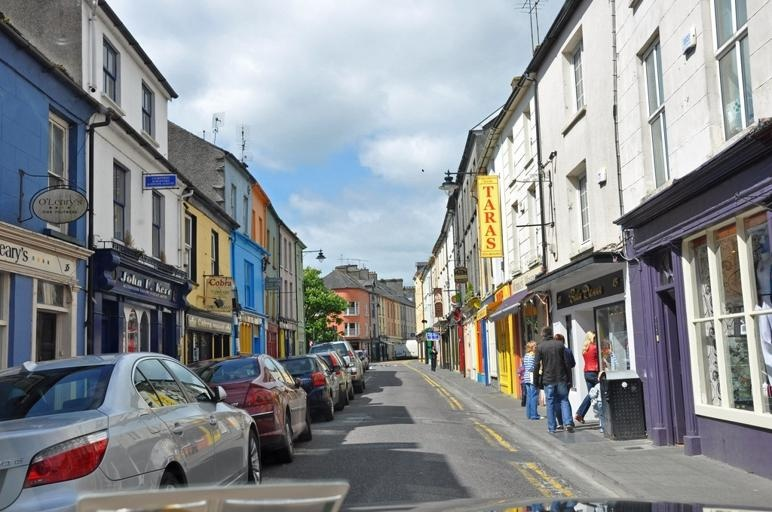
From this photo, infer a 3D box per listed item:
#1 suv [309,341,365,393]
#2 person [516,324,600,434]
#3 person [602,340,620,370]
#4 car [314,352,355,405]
[{"bbox_3d":[-1.581,4.318,29.852,1.222,1.517,2.613,-2,-4,6],"label":"suv"},{"bbox_3d":[3.796,2.757,17.065,0.878,2.341,1.281,-1,-14,-4],"label":"person"},{"bbox_3d":[5.104,2.260,17.325,0.286,0.710,0.797,-7,-16,21],"label":"person"},{"bbox_3d":[-1.556,3.692,23.722,0.845,0.994,2.063,-1,-13,3],"label":"car"}]
